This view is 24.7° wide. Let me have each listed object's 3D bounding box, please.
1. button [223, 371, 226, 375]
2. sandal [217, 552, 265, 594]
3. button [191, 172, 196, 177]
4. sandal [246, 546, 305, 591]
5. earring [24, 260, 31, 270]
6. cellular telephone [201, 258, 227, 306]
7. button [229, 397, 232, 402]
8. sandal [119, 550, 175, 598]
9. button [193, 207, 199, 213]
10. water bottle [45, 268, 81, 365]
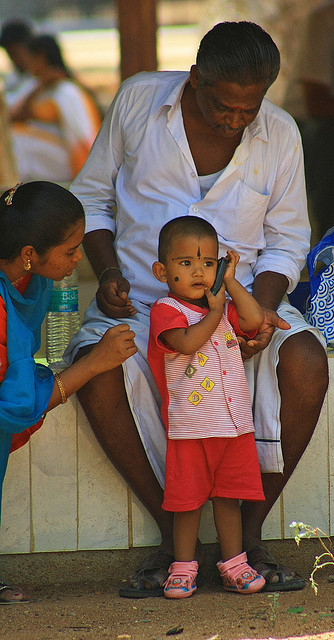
[{"bbox_3d":[0.188,0.172,2.500,0.009,0.008,0.015,1,62,-1],"label":"button"},{"bbox_3d":[0.232,0.817,2.463,0.083,0.095,0.169,-26,3,-34],"label":"sandal"},{"bbox_3d":[0.098,-0.550,2.874,0.017,0.015,0.004,-1,5,6],"label":"button"},{"bbox_3d":[0.349,0.808,2.519,0.148,0.111,0.272,0,-5,-17],"label":"sandal"},{"bbox_3d":[-0.466,-0.184,2.545,0.022,0.051,0.016,-10,43,-9],"label":"earring"},{"bbox_3d":[0.168,-0.145,2.517,0.033,0.057,0.149,9,40,11],"label":"cellular telephone"},{"bbox_3d":[0.203,0.259,2.483,0.004,0.014,0.016,-2,8,9],"label":"button"},{"bbox_3d":[-0.046,0.844,2.503,0.132,0.076,0.198,25,46,27],"label":"sandal"},{"bbox_3d":[0.104,-0.412,2.842,0.025,0.022,0.006,0,1,-24],"label":"button"},{"bbox_3d":[-0.435,-0.057,3.219,0.139,0.480,0.129,1,4,0],"label":"water bottle"}]
